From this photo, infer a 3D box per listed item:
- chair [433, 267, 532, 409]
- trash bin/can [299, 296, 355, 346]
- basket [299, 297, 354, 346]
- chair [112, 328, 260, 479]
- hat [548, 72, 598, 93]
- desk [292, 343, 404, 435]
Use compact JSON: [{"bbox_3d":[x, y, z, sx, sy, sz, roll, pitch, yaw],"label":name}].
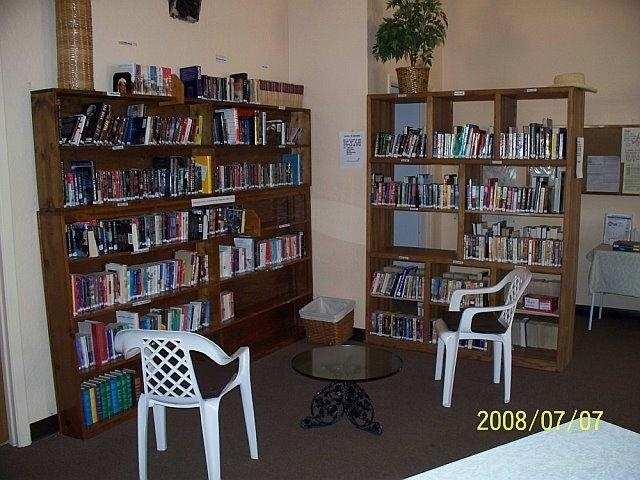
[{"bbox_3d":[1.452,0.848,4.413,0.847,1.133,0.831,2,6,35],"label":"chair"},{"bbox_3d":[0.076,0.927,5.658,0.559,0.402,0.468,1,5,38],"label":"trash bin/can"},{"bbox_3d":[0.066,0.935,5.658,0.557,0.403,0.468,1,5,38],"label":"basket"},{"bbox_3d":[-0.940,1.061,3.346,1.084,1.049,0.734,8,13,44],"label":"chair"},{"bbox_3d":[2.397,-1.521,4.592,0.525,0.203,0.484,6,17,19],"label":"hat"},{"bbox_3d":[0.182,1.257,3.831,0.869,0.569,0.869,22,-33,-30],"label":"desk"}]
